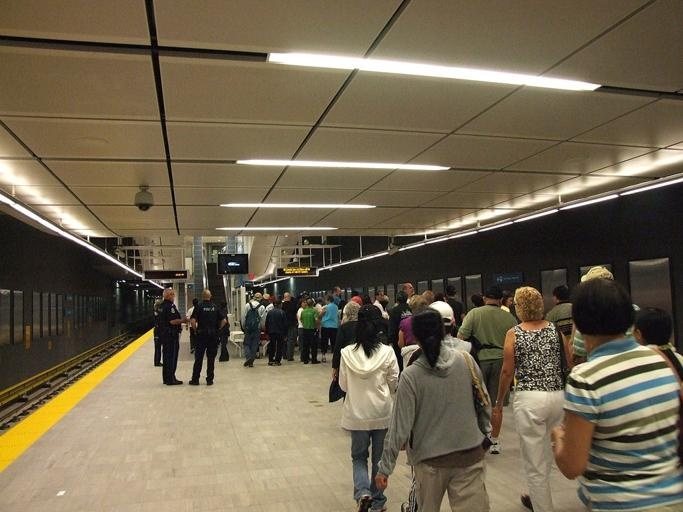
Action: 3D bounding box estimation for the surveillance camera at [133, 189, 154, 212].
[{"bbox_3d":[-2.894,-0.822,6.581,0.275,0.440,0.231,0,2,-6],"label":"surveillance camera"}]

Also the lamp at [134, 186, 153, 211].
[{"bbox_3d":[-2.844,-0.844,6.479,0.291,0.463,0.223,2,4,40],"label":"lamp"}]

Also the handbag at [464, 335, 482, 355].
[{"bbox_3d":[1.500,0.997,5.093,0.154,0.203,0.219,-1,-16,-2],"label":"handbag"}]

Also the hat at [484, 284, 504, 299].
[{"bbox_3d":[1.693,0.402,5.021,0.140,0.115,0.193,4,4,14],"label":"hat"}]

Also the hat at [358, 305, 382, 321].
[{"bbox_3d":[0.247,0.488,3.863,0.120,0.121,0.162,4,-14,-24],"label":"hat"}]

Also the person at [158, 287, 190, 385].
[{"bbox_3d":[-3.589,1.668,9.522,0.536,1.993,1.505,0,-5,-22],"label":"person"}]

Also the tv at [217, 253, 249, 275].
[{"bbox_3d":[-4.536,0.342,18.885,0.921,0.705,0.098,0,-1,-4],"label":"tv"}]
